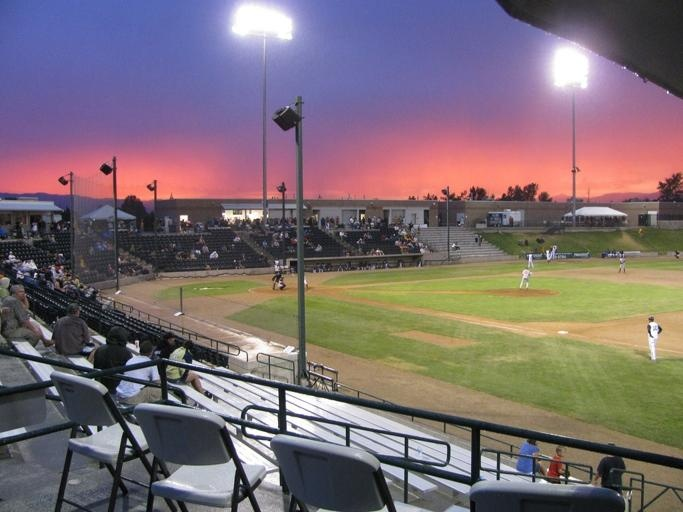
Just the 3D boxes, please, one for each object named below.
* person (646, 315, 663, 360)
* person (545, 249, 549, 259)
[{"bbox_3d":[9.864,2.363,21.683,0.288,1.277,2.523,0,4,25],"label":"person"},{"bbox_3d":[19.966,-0.148,66.732,0.398,0.896,0.337,4,5,-12],"label":"person"}]
